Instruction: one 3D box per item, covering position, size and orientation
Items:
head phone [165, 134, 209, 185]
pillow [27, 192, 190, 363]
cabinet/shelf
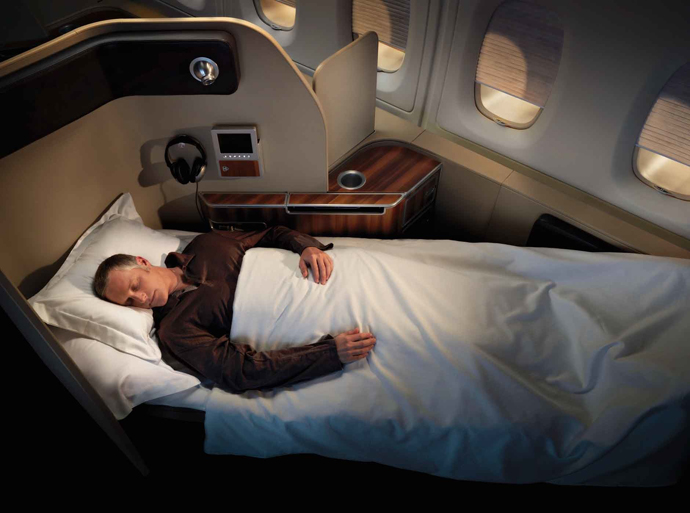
[{"bbox_3d":[-0.852,-0.544,2.661,0.160,0.219,0.108,-10,34,-1],"label":"head phone"},{"bbox_3d":[-1.217,0.064,2.525,0.664,0.177,0.735,32,55,-9],"label":"pillow"},{"bbox_3d":[-0.087,-0.352,2.980,1.391,0.375,0.522,-10,40,-11],"label":"cabinet/shelf"}]
